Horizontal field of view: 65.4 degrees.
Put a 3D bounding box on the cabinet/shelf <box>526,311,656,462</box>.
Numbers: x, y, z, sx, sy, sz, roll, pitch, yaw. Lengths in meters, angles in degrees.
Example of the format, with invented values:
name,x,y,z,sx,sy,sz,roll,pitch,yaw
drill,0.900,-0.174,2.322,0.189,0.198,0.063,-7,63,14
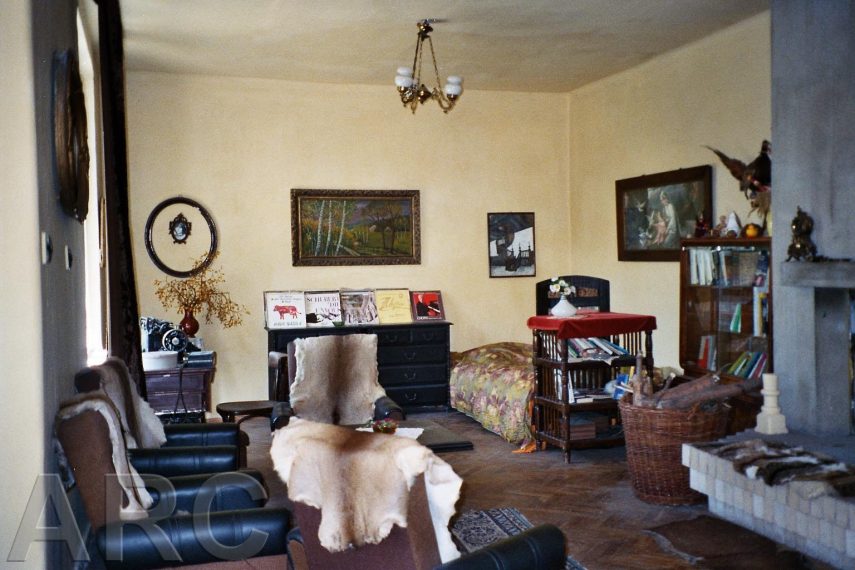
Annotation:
name,x,y,z,sx,sy,sz,roll,pitch,yaw
cabinet/shelf,1.708,1.058,7.095,1.207,1.548,0.777,-1,8,7

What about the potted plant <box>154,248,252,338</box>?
name,x,y,z,sx,sy,sz,roll,pitch,yaw
potted plant,-2.990,0.138,8.954,0.939,0.999,1.008,3,-1,-10

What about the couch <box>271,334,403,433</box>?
name,x,y,z,sx,sy,sz,roll,pitch,yaw
couch,-0.969,1.045,6.965,1.202,1.285,1.052,-1,-3,-12

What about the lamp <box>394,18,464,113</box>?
name,x,y,z,sx,sy,sz,roll,pitch,yaw
lamp,-0.043,-2.348,7.183,0.758,0.915,0.523,-2,15,-16

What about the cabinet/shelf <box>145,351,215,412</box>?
name,x,y,z,sx,sy,sz,roll,pitch,yaw
cabinet/shelf,-2.816,0.997,7.777,0.873,0.791,0.612,-1,1,-27

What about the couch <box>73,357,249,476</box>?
name,x,y,z,sx,sy,sz,roll,pitch,yaw
couch,-2.070,1.017,5.292,1.150,1.074,0.823,-1,3,-19

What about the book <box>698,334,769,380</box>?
name,x,y,z,sx,sy,sz,roll,pitch,yaw
book,3.140,0.718,6.871,0.193,0.492,0.821,-5,8,-22
